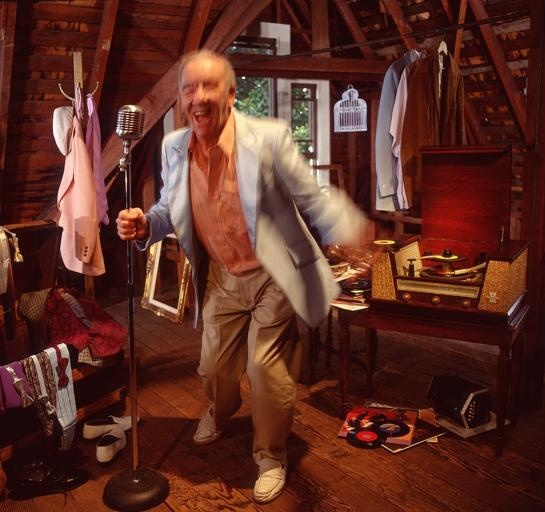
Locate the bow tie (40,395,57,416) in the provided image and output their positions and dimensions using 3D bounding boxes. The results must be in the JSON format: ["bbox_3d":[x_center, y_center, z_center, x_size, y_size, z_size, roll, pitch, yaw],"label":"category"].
[{"bbox_3d":[-1.113,0.739,2.451,0.068,0.113,0.030,-10,12,-43],"label":"bow tie"}]

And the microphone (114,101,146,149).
[{"bbox_3d":[-0.552,-0.534,2.005,0.130,0.212,0.137,2,4,7],"label":"microphone"}]

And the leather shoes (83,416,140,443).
[{"bbox_3d":[-0.954,0.989,2.943,0.112,0.116,0.313,4,12,45],"label":"leather shoes"}]

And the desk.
[{"bbox_3d":[0.983,0.312,3.003,1.203,0.986,0.745,4,8,31],"label":"desk"}]

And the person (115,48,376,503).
[{"bbox_3d":[-0.149,0.096,2.415,1.065,2.050,0.672,-4,9,-12],"label":"person"}]

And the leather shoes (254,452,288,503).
[{"bbox_3d":[-0.019,1.056,2.348,0.083,0.113,0.259,0,-2,9],"label":"leather shoes"}]

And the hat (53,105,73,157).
[{"bbox_3d":[-1.637,-0.992,3.854,0.094,0.331,0.222,6,14,10],"label":"hat"}]

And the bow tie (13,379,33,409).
[{"bbox_3d":[-1.196,0.651,2.369,0.079,0.138,0.017,-7,10,-33],"label":"bow tie"}]
